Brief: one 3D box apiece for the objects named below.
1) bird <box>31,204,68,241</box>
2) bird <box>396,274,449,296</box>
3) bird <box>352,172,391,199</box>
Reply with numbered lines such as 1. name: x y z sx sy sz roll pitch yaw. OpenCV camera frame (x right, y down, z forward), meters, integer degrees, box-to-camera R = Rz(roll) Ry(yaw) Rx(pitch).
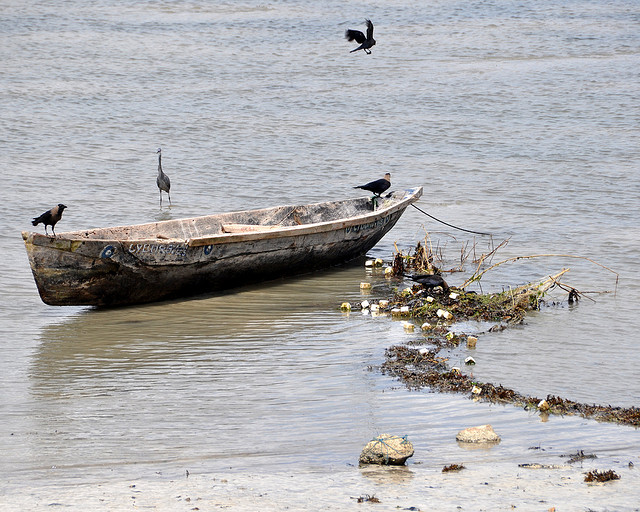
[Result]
1. bird: -7.088 -0.878 38.094 0.718 0.865 0.855 4 27 6
2. bird: 2.916 0.803 38.441 0.918 0.472 0.540 16 30 32
3. bird: 1.622 -1.906 42.304 0.767 0.828 0.745 5 27 7
